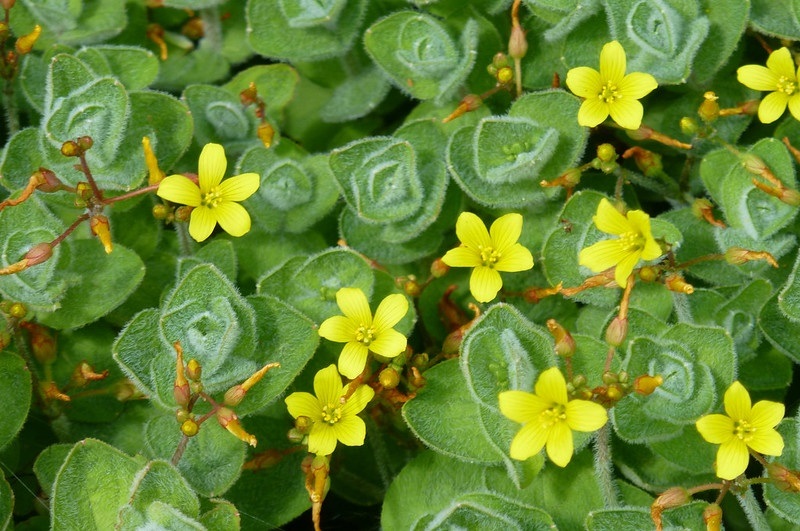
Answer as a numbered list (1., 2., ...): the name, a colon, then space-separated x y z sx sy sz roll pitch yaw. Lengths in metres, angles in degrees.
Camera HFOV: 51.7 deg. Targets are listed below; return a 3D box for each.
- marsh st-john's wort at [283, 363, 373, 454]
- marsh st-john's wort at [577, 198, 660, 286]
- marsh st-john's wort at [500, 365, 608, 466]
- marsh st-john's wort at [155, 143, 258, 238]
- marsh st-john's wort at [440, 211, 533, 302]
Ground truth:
1. marsh st-john's wort: -0.252 0.549 3.049 0.312 0.104 0.347 -3 54 -14
2. marsh st-john's wort: 0.800 -0.082 2.969 0.200 0.295 0.309 -8 81 -48
3. marsh st-john's wort: 0.524 0.532 2.856 0.346 0.133 0.289 -23 67 -8
4. marsh st-john's wort: -0.717 -0.258 3.108 0.372 0.384 0.148 6 33 -30
5. marsh st-john's wort: 0.318 -0.031 3.076 0.331 0.131 0.322 -39 77 9
